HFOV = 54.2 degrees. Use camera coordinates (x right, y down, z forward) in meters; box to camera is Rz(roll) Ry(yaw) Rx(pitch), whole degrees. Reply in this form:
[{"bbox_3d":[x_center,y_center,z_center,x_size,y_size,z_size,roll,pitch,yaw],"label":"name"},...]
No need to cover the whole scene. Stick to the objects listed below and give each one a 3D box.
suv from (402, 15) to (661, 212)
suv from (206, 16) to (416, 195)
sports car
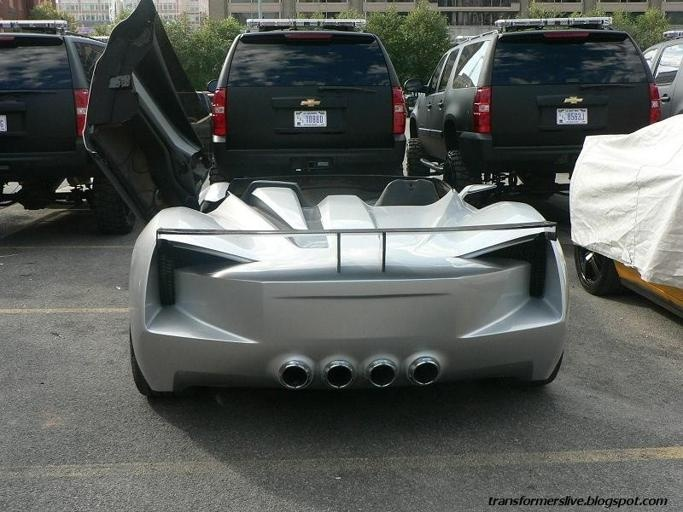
[{"bbox_3d":[2.344,-2.148,9.600,2.274,1.970,3.901,-3,21,-4],"label":"suv"},{"bbox_3d":[-0.380,-1.845,7.620,1.398,1.354,2.524,-1,17,-3],"label":"suv"},{"bbox_3d":[-0.223,0.033,4.506,1.992,1.716,3.212,0,13,-5],"label":"sports car"}]
